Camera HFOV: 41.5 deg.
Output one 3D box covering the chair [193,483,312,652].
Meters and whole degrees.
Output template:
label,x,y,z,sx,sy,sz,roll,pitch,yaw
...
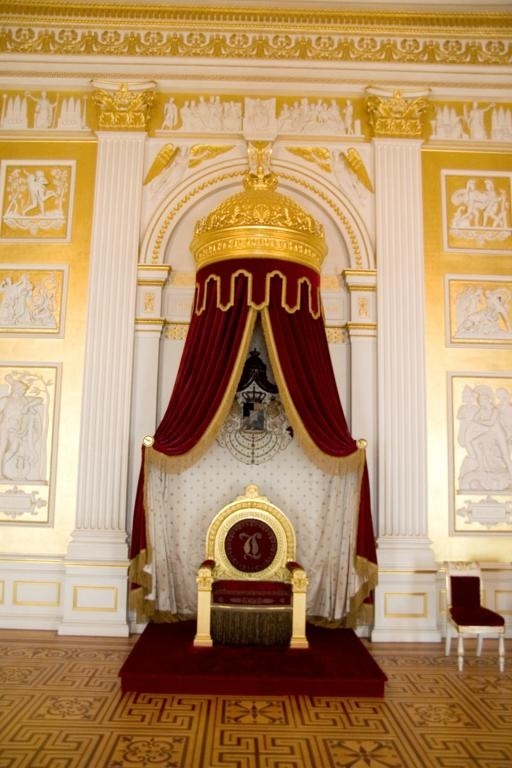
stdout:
label,x,y,z,sx,sy,sz,roll,pitch,yaw
chair,-0.014,1.155,4.410,0.690,0.946,0.573,2,-5,0
